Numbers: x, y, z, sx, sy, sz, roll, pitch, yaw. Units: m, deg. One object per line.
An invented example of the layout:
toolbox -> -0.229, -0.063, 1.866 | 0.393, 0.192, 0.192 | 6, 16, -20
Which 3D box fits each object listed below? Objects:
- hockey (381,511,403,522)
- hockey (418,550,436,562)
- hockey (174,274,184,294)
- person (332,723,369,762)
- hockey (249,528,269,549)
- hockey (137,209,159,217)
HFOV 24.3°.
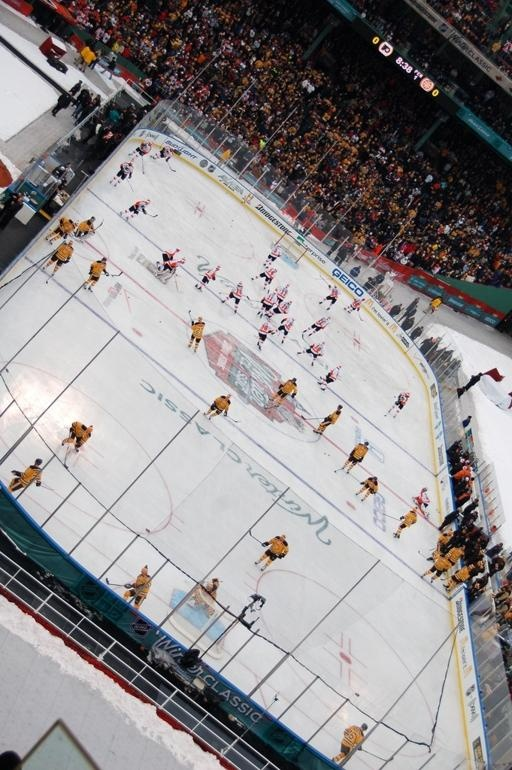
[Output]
hockey -> 3.373, 3.307, 29.829 | 0.624, 0.009, 0.241 | 13, 63, -26
hockey -> 4.324, 4.174, 29.326 | 0.290, 0.100, 0.284 | 0, 23, -34
hockey -> -2.054, -2.688, 31.191 | 0.268, 0.275, 0.552 | 22, 15, -23
person -> 2.002, 7.524, 24.925 | 0.478, 0.777, 0.480 | 26, 15, -9
hockey -> 0.048, 3.381, 26.076 | 0.485, 0.297, 0.115 | 32, 14, 18
hockey -> -2.966, -4.710, 32.365 | 0.231, 0.134, 0.728 | 37, 17, 34
